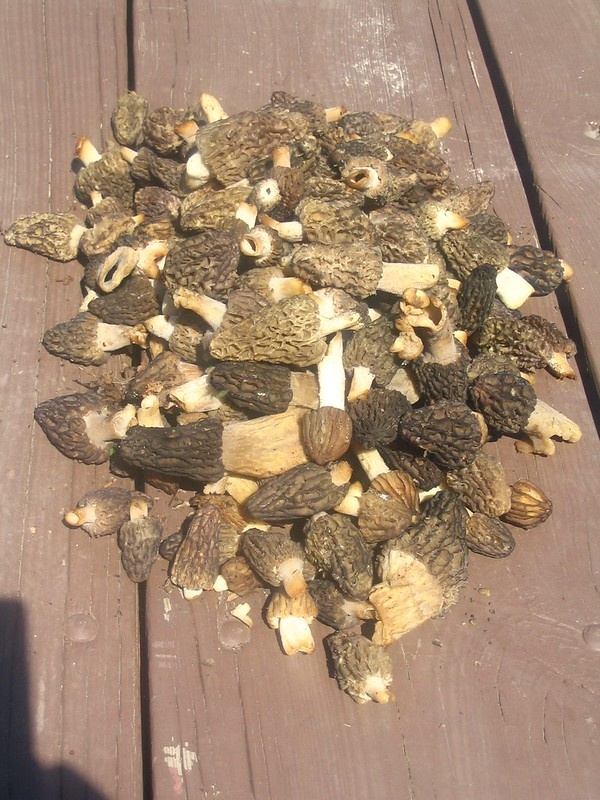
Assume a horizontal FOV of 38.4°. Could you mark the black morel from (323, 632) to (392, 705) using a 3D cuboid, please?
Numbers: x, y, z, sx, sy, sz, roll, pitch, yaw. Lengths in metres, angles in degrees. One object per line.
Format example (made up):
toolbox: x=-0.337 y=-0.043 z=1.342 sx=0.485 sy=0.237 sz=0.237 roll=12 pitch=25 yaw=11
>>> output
black morel: x=0.236 y=1.001 z=3.261 sx=0.199 sy=0.174 sz=0.274 roll=-9 pitch=64 yaw=-7

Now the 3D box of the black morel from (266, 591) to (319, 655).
black morel: x=-0.033 y=0.833 z=3.275 sx=0.185 sy=0.151 sz=0.225 roll=3 pitch=63 yaw=-1

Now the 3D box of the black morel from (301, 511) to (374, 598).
black morel: x=0.174 y=0.577 z=3.279 sx=0.366 sy=0.173 sz=0.213 roll=41 pitch=69 yaw=17

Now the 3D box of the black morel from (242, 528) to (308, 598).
black morel: x=-0.085 y=0.608 z=3.314 sx=0.181 sy=0.162 sz=0.330 roll=-41 pitch=71 yaw=-20

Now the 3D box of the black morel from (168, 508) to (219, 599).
black morel: x=-0.409 y=0.591 z=3.385 sx=0.190 sy=0.229 sz=0.340 roll=3 pitch=63 yaw=-1
